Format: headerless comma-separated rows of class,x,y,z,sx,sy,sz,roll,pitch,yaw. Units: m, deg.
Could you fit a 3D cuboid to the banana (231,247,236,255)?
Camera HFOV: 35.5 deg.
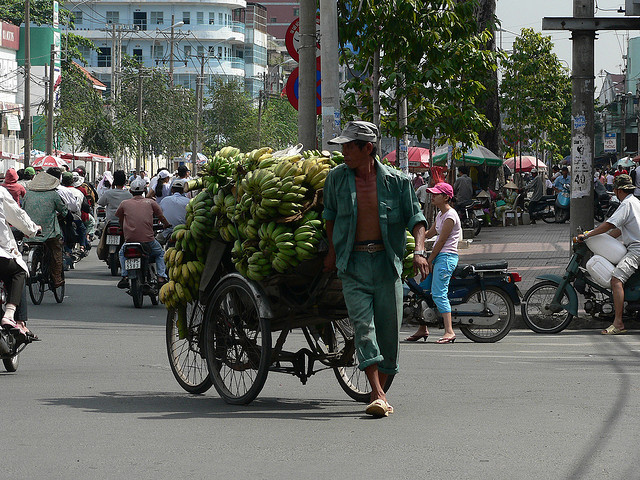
banana,-0.792,0.099,9.157,0.015,0.049,0.051,20,-25,-29

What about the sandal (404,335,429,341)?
sandal,1.349,1.288,13.135,0.205,0.058,0.076,3,-3,-3

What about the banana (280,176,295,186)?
banana,-0.271,-0.527,8.833,0.133,0.069,0.051,-4,8,-38

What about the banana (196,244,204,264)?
banana,-1.136,0.132,9.457,0.029,0.121,0.078,-22,2,-16

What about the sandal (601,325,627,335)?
sandal,4.032,1.210,13.484,0.318,0.122,0.119,1,0,-9

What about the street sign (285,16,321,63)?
street sign,-0.245,-2.990,14.940,0.496,0.752,1.161,0,6,-2

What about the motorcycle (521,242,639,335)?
motorcycle,3.516,0.711,14.135,1.863,1.198,0.934,0,2,7

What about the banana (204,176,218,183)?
banana,-1.033,-0.578,9.463,0.069,0.021,0.070,18,-22,6

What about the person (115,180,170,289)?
person,-2.893,-0.109,16.419,0.989,1.763,0.961,1,-3,-20

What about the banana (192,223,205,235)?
banana,-1.143,-0.090,9.347,0.155,0.063,0.041,37,-46,-20

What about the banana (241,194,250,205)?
banana,-0.663,-0.359,8.950,0.024,0.082,0.065,36,53,24

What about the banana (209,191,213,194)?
banana,-1.027,-0.447,9.417,0.041,0.024,0.005,5,8,37

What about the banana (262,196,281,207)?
banana,-0.419,-0.343,8.806,0.182,0.053,0.067,4,30,5

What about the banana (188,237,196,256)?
banana,-1.201,0.058,9.438,0.063,0.164,0.091,2,6,13

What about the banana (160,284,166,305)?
banana,-1.520,0.517,9.617,0.054,0.192,0.176,-1,6,-9

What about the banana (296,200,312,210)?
banana,-0.144,-0.312,8.884,0.080,0.032,0.132,34,6,5

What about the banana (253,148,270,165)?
banana,-0.529,-0.759,9.142,0.037,0.166,0.059,24,-17,43

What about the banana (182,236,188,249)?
banana,-1.280,0.036,9.421,0.046,0.088,0.029,-7,-4,32

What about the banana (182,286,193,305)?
banana,-1.255,0.521,9.446,0.042,0.169,0.059,-17,23,1

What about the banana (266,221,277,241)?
banana,-0.426,-0.098,8.837,0.035,0.135,0.090,-5,-29,36

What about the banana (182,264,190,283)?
banana,-1.272,0.310,9.412,0.059,0.171,0.046,-3,-21,-6

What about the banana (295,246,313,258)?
banana,-0.133,0.096,8.768,0.135,0.076,0.046,34,13,12

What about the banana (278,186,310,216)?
banana,-0.223,-0.343,8.846,0.128,0.265,0.207,25,-18,39

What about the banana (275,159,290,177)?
banana,-0.325,-0.652,8.956,0.056,0.222,0.074,14,-26,27

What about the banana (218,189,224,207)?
banana,-0.923,-0.395,9.302,0.057,0.155,0.041,1,-30,2

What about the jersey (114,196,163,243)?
jersey,-2.940,-0.336,16.119,0.820,0.780,0.452,-2,-11,-14

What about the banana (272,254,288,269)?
banana,-0.344,0.201,8.754,0.050,0.157,0.050,-35,27,3

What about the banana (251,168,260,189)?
banana,-0.561,-0.553,8.909,0.042,0.136,0.082,11,-20,-10

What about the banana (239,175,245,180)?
banana,-0.714,-0.571,9.138,0.055,0.056,0.013,-1,-4,-28

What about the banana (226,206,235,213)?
banana,-0.826,-0.282,9.172,0.100,0.059,0.032,5,7,35

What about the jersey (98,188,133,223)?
jersey,-3.970,-0.719,19.360,0.760,0.772,0.363,-15,38,-31

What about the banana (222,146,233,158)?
banana,-0.885,-0.813,9.538,0.035,0.101,0.102,29,-35,4

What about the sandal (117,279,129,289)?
sandal,-3.132,0.696,15.807,0.199,0.209,0.125,-1,5,-5

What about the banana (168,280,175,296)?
banana,-1.419,0.448,9.482,0.077,0.106,0.038,2,0,32

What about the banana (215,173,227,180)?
banana,-0.925,-0.597,9.387,0.117,0.059,0.028,4,7,31

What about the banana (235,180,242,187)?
banana,-0.745,-0.514,9.143,0.020,0.061,0.064,20,20,-45

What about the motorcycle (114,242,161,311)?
motorcycle,-2.937,0.561,16.149,0.649,1.088,1.386,-1,6,-9

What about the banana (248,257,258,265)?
banana,-0.595,0.180,8.837,0.063,0.053,0.036,6,42,-8
